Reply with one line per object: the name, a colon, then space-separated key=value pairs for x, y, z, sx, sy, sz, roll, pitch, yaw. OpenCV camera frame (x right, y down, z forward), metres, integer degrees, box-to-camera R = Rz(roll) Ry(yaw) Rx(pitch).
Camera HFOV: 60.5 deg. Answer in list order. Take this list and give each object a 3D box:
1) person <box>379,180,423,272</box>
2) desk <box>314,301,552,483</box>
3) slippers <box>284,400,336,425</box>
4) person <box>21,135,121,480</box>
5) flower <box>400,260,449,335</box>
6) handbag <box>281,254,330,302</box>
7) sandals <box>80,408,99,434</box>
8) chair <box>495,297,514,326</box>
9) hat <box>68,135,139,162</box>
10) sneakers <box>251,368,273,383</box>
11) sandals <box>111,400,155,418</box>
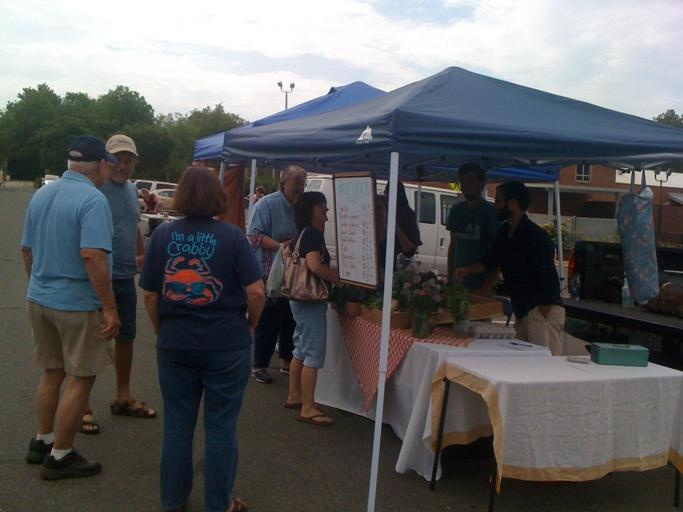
person: x=0.655 y=-0.343 z=6.504 sx=0.447 sy=0.942 sz=1.331 roll=3 pitch=11 yaw=6
desk: x=0.455 y=1.066 z=5.233 sx=1.048 sy=0.695 sz=1.634 roll=0 pitch=4 yaw=-21
slippers: x=-0.358 y=1.518 z=5.571 sx=0.475 sy=0.137 sz=0.193 roll=0 pitch=-2 yaw=41
person: x=-2.052 y=0.381 z=4.409 sx=0.592 sy=2.515 sz=0.580 roll=-4 pitch=12 yaw=-31
flower: x=0.677 y=0.301 z=5.028 sx=0.434 sy=0.640 sz=0.541 roll=-2 pitch=7 yaw=-19
handbag: x=-0.366 y=0.179 z=5.279 sx=0.436 sy=0.455 sz=0.219 roll=9 pitch=38 yaw=9
sandals: x=-2.282 y=1.453 z=5.157 sx=0.165 sy=0.228 sz=0.492 roll=3 pitch=-10 yaw=-27
chair: x=1.665 y=0.570 z=6.009 sx=0.205 sy=0.174 sz=0.397 roll=-5 pitch=14 yaw=-7
hat: x=-1.872 y=-0.852 z=4.604 sx=0.333 sy=0.175 sz=0.502 roll=29 pitch=24 yaw=35
sneakers: x=-0.895 y=1.338 z=6.523 sx=0.105 sy=0.098 sz=0.225 roll=1 pitch=0 yaw=-40
sandals: x=-1.944 y=1.425 z=5.389 sx=0.345 sy=0.150 sz=0.184 roll=2 pitch=2 yaw=-7
